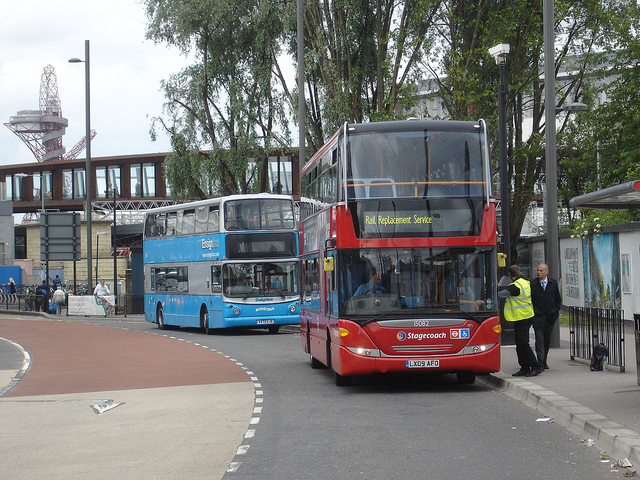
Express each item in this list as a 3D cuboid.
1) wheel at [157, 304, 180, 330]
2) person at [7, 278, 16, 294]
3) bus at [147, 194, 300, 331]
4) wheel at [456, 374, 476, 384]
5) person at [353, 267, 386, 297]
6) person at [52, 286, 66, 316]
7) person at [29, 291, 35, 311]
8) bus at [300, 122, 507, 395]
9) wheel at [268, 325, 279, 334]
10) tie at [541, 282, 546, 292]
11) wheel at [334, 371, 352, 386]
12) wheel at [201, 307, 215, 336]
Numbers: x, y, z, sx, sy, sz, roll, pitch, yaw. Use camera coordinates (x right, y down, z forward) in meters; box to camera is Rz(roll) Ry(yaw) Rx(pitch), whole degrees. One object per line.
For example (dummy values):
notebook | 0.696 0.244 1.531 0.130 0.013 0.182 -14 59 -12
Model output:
wheel | -7.156 3.588 33.906 0.922 1.230 1.761 -1 -2 -1
person | -23.555 3.549 55.802 0.453 1.164 2.393 -1 -3 -24
bus | -4.803 1.047 31.759 2.884 5.858 8.188 -3 0 -38
wheel | 2.977 2.822 14.806 0.353 0.152 0.293 -2 -2 10
person | 0.911 0.810 13.698 0.803 0.735 0.373 4 -1 -25
person | -17.097 4.019 47.670 0.700 1.803 1.127 -1 -1 -21
person | -20.192 4.311 51.015 0.321 1.168 1.093 -1 -2 -22
bus | 1.663 0.400 15.063 3.649 3.774 3.146 -2 -2 4
wheel | -1.912 3.728 30.384 0.414 0.361 0.462 -2 -5 22
tie | 4.587 0.972 14.909 0.028 0.169 0.041 -3 -9 -4
wheel | 0.486 2.832 14.782 0.311 0.197 0.515 -2 -2 -3
wheel | -4.527 3.255 29.515 0.320 1.227 1.097 0 -2 -4
